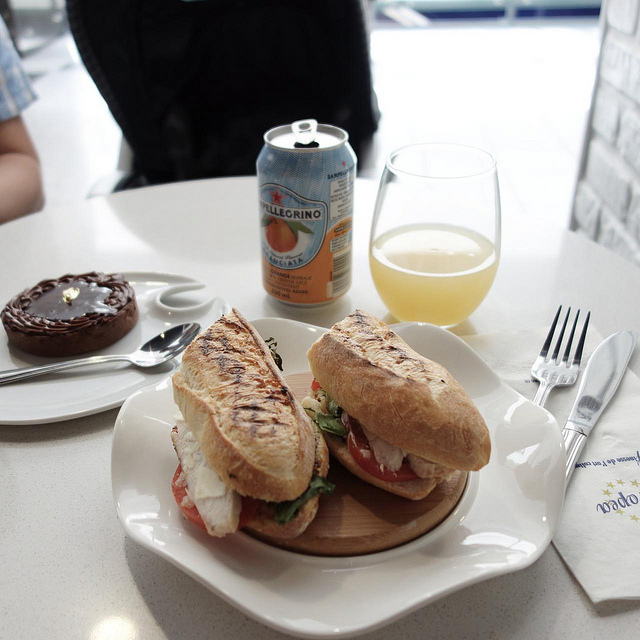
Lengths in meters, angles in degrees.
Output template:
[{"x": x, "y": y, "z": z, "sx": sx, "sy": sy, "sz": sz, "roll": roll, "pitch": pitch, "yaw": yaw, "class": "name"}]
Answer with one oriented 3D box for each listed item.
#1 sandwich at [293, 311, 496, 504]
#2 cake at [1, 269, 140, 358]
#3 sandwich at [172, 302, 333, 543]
[{"x": 0.103, "y": 0.103, "z": 0.741, "sx": 0.182, "sy": 0.123, "sz": 0.289, "roll": -18, "pitch": 31, "yaw": -22, "class": "sandwich"}, {"x": -0.450, "y": -0.020, "z": 1.008, "sx": 0.224, "sy": 0.072, "sz": 0.218, "roll": 9, "pitch": 39, "yaw": 10, "class": "cake"}, {"x": -0.094, "y": 0.101, "z": 0.715, "sx": 0.185, "sy": 0.106, "sz": 0.344, "roll": -6, "pitch": 28, "yaw": -22, "class": "sandwich"}]
